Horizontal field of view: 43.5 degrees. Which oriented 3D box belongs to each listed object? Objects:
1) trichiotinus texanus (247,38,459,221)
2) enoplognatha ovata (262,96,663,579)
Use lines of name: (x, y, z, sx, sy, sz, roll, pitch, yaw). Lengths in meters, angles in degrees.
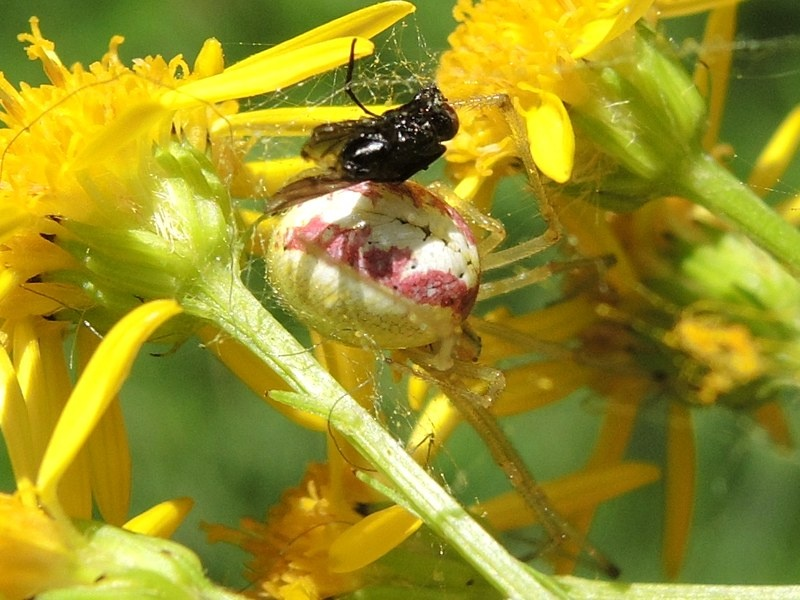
trichiotinus texanus: (-0.018, -0.115, 0.668, 0.134, 0.106, 0.100, -11, 18, -40)
enoplognatha ovata: (0.025, 0.016, 0.674, 0.209, 0.177, 0.274, -2, 94, -4)
